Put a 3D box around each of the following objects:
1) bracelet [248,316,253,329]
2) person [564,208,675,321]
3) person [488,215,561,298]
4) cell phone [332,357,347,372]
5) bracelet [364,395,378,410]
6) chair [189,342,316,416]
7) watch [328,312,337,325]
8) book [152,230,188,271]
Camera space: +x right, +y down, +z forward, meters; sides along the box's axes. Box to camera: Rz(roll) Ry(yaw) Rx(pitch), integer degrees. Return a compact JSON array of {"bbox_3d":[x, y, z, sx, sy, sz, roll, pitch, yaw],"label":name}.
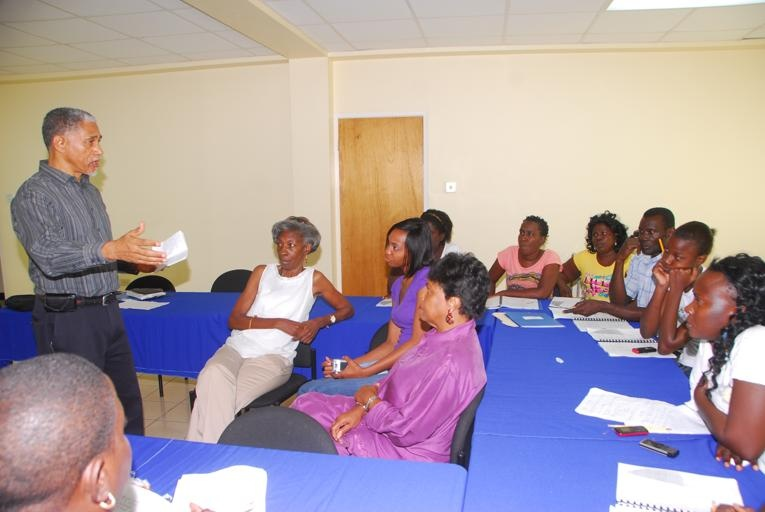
[{"bbox_3d":[-0.910,0.464,3.657,0.038,0.070,0.032,1,13,7],"label":"bracelet"},{"bbox_3d":[1.631,0.069,4.006,0.795,0.867,0.431,17,-23,-41],"label":"person"},{"bbox_3d":[1.227,0.068,4.672,0.652,0.814,0.609,8,13,41],"label":"person"},{"bbox_3d":[-0.265,0.670,3.268,0.091,0.032,0.062,0,8,-1],"label":"cell phone"},{"bbox_3d":[-0.067,0.768,2.779,0.055,0.033,0.070,-21,-8,-42],"label":"bracelet"},{"bbox_3d":[-0.867,0.742,3.617,0.534,0.700,0.640,0,-4,16],"label":"chair"},{"bbox_3d":[-0.364,0.457,3.861,0.077,0.097,0.027,-3,3,-12],"label":"watch"},{"bbox_3d":[-1.146,-0.033,2.878,0.148,0.215,0.358,-6,13,-23],"label":"book"}]
